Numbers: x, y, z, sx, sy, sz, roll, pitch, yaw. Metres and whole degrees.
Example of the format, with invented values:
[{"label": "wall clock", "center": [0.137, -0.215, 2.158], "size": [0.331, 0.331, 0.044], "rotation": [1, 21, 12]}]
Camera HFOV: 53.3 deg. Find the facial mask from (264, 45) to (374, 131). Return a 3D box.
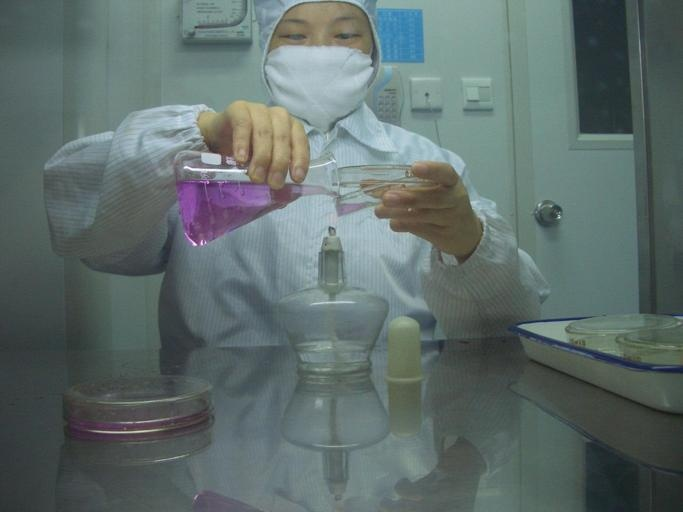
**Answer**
[{"label": "facial mask", "center": [-0.043, -0.342, 1.292], "size": [0.151, 0.093, 0.164], "rotation": [0, 27, -4]}]
